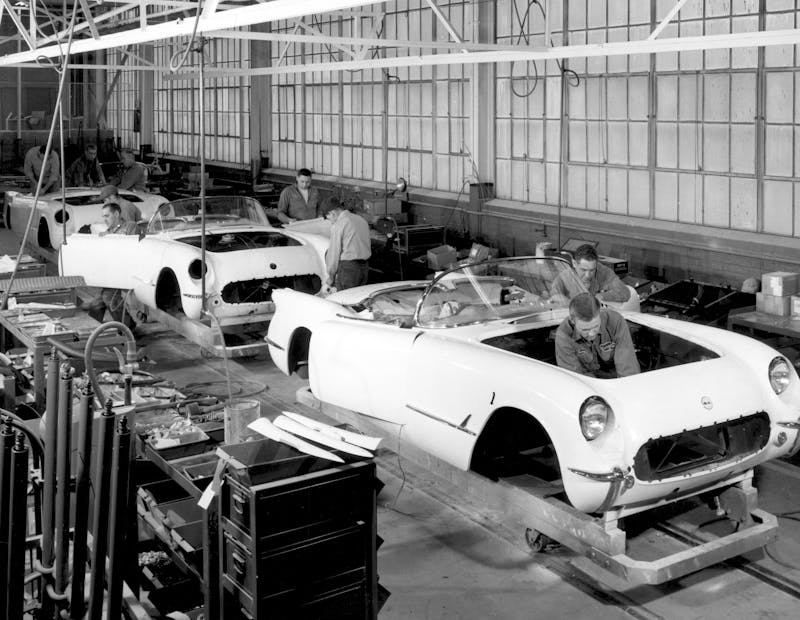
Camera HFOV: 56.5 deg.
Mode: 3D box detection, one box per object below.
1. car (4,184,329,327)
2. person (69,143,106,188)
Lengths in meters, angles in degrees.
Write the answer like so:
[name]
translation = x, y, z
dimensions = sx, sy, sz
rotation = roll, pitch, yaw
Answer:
[car]
translation = -3.211, -0.626, 9.546
dimensions = 4.337, 1.338, 2.367
rotation = 14, 14, 36
[person]
translation = -6.896, -3.112, 16.276
dimensions = 0.712, 0.865, 2.078
rotation = -7, 16, -23
